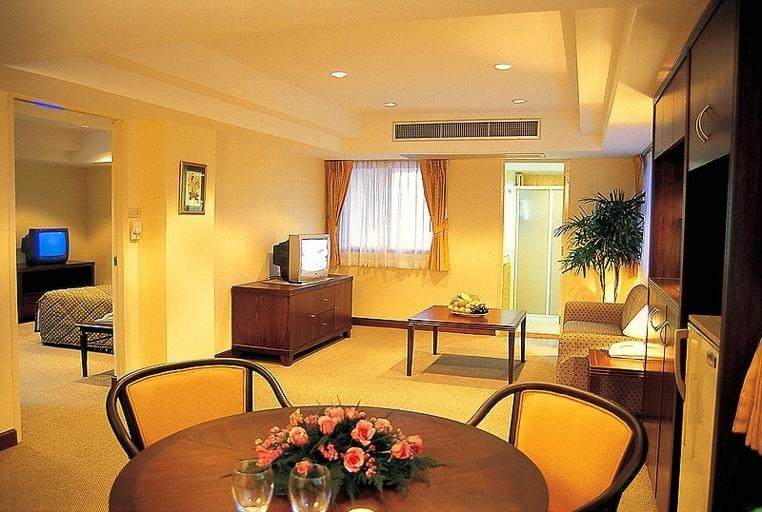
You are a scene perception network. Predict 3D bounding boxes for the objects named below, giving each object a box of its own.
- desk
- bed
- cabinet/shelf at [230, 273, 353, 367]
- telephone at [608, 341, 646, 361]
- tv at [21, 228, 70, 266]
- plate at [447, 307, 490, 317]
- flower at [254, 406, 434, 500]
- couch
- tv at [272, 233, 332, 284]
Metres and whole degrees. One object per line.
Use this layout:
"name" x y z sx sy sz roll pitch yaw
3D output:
"desk" -5.585 0.588 9.058 0.538 0.880 1.408 3 5 26
"bed" -3.963 0.765 6.962 0.982 0.565 0.978 2 7 3
"cabinet/shelf" -1.142 0.815 7.373 0.798 0.936 1.959 2 3 18
"telephone" 2.188 0.850 4.768 0.251 0.080 0.333 -1 7 20
"tv" -5.391 -0.156 8.787 0.597 0.629 0.628 1 4 16
"plate" 1.008 0.661 6.187 0.437 0.083 0.289 -1 2 6
"flower" -0.136 0.778 2.147 0.440 0.208 0.435 2 2 -23
"couch" 2.239 1.220 5.748 0.962 0.979 1.771 1 2 17
"tv" -1.126 0.021 7.045 0.643 0.535 0.727 0 1 20
